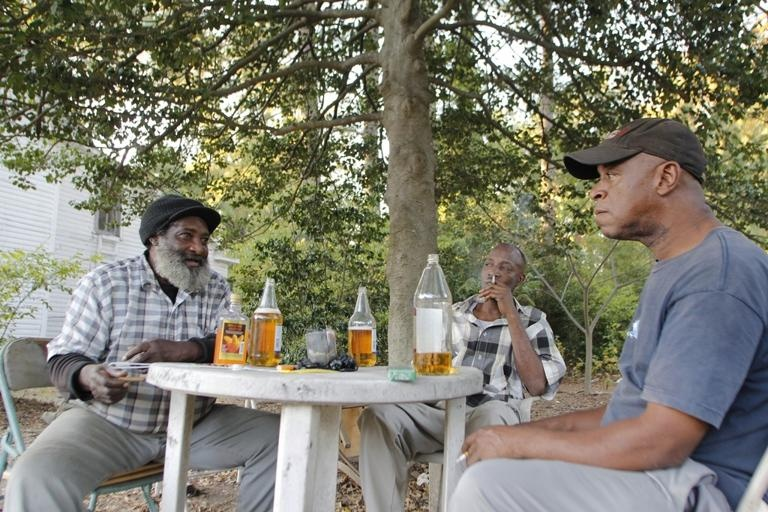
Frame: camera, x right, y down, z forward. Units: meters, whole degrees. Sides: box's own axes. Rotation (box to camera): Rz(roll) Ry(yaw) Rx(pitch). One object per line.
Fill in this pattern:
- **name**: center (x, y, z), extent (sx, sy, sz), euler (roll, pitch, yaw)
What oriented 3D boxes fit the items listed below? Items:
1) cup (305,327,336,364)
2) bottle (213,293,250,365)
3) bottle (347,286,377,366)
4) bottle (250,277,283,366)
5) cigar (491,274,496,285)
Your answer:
- **cup**: center (-0.372, 0.538, 3.264), extent (0.193, 0.213, 0.210), euler (0, -6, 0)
- **bottle**: center (-0.914, 0.438, 3.292), extent (0.196, 0.420, 0.460), euler (2, -6, -15)
- **bottle**: center (-0.139, 0.447, 3.520), extent (0.167, 0.515, 0.339), euler (1, -6, -3)
- **bottle**: center (-0.725, 0.403, 3.359), extent (0.192, 0.528, 0.248), euler (2, -5, -13)
- **cigar**: center (0.892, 0.195, 4.473), extent (0.021, 0.077, 0.019), euler (-4, -28, 22)
